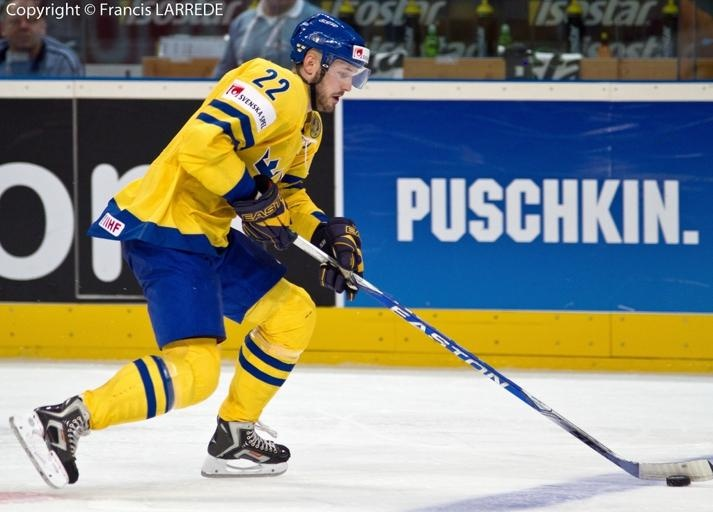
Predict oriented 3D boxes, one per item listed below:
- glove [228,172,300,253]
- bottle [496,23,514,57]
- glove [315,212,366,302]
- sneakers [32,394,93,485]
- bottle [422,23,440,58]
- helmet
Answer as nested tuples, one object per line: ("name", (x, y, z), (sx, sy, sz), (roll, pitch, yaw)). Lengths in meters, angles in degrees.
("glove", (-0.411, -0.196, 5.608), (0.360, 0.343, 0.254), (25, 54, 15))
("bottle", (0.897, -1.321, 7.439), (0.089, 0.191, 0.038), (0, 15, -1))
("glove", (-0.071, -0.003, 5.861), (0.173, 0.276, 0.358), (-24, 48, -7))
("sneakers", (-1.297, 0.815, 5.360), (0.243, 0.383, 0.117), (-3, 16, -12))
("bottle", (0.450, -1.324, 7.468), (0.102, 0.195, 0.051), (0, 15, 0))
("helmet", (-0.109, -1.011, 5.729), (0.331, 0.295, 0.241), (20, 13, -3))
